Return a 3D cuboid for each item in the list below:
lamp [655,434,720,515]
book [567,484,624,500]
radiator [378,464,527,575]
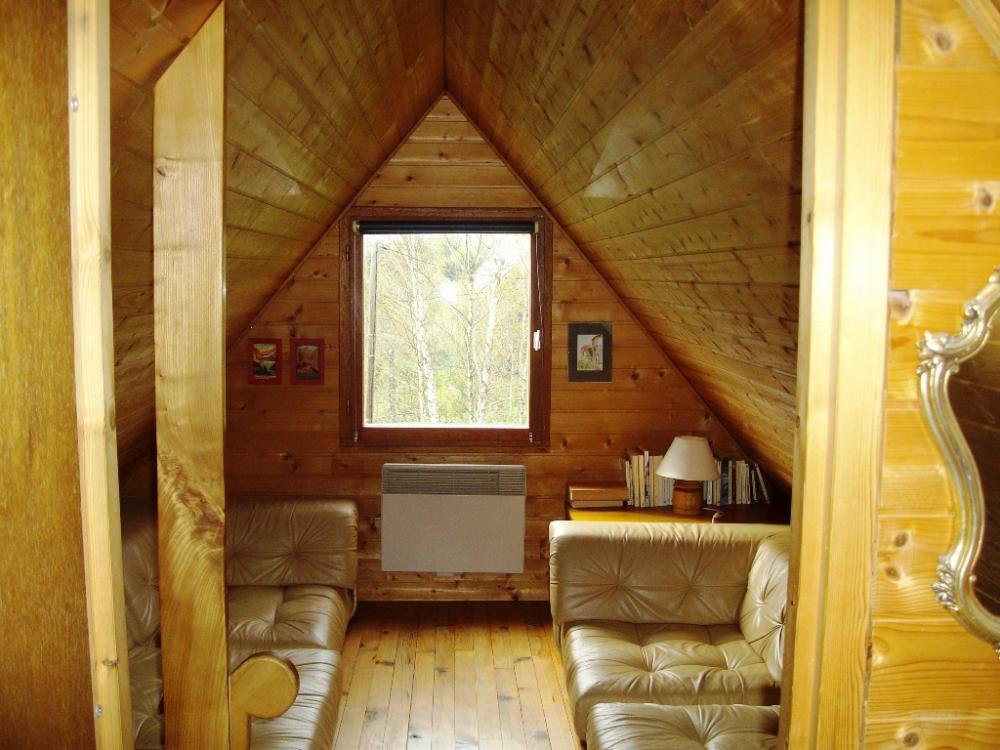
[{"bbox_3d":[0.778,0.437,3.730,0.330,0.375,0.324,2,10,7],"label":"lamp"},{"bbox_3d":[0.441,0.551,3.822,0.257,0.078,0.146,1,11,-3],"label":"book"},{"bbox_3d":[-0.235,0.673,3.921,0.506,0.395,0.166,1,8,-1],"label":"radiator"}]
